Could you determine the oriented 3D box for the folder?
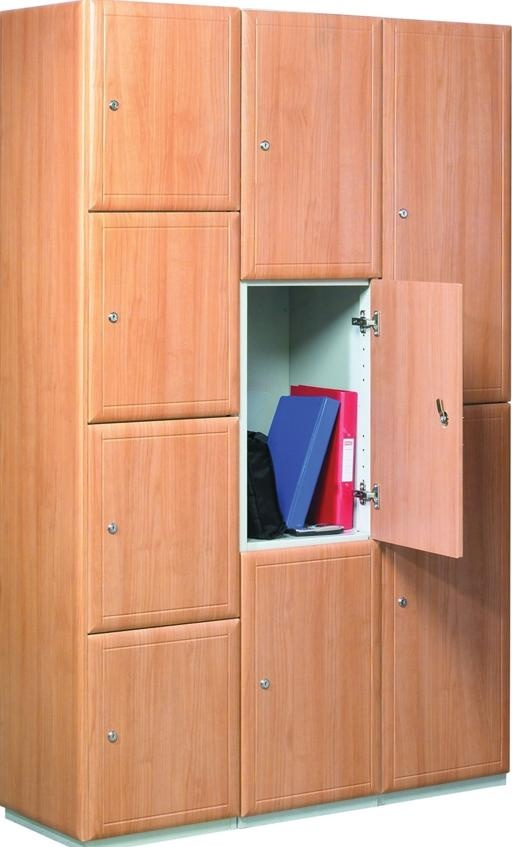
[{"bbox_3d":[0.156,0.071,2.285,0.110,0.400,0.241,-4,12,-20],"label":"folder"}]
